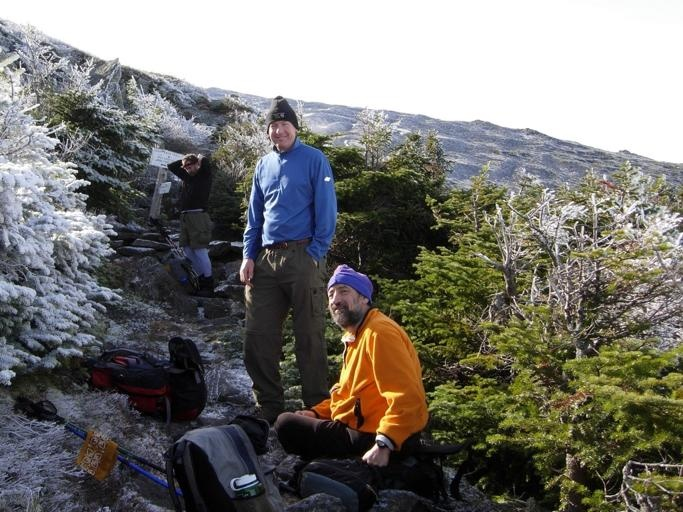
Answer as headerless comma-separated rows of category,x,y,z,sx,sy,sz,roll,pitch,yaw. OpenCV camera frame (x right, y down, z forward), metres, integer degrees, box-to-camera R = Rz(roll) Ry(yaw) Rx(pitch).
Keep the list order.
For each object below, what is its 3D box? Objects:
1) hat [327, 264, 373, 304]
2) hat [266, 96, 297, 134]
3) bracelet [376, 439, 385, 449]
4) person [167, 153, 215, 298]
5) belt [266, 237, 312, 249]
hat,0.109,0.257,5.070,0.426,0.276,0.285,19,-9,-27
hat,-0.588,-1.468,5.837,0.336,0.334,0.219,10,1,-21
bracelet,0.312,1.471,4.418,0.071,0.025,0.059,24,-11,24
person,-2.617,-0.573,10.292,1.071,2.480,0.826,11,1,-15
belt,-0.536,-0.125,5.792,0.418,0.125,0.116,8,1,-2
